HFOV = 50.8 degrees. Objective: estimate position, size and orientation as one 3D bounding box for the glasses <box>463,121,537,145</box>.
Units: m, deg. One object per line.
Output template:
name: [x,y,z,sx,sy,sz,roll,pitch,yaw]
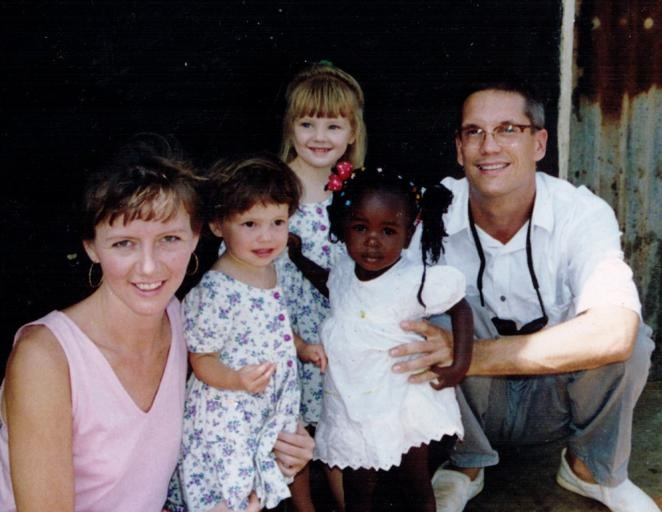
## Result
glasses: [0.900,-0.662,3.740,0.398,0.103,0.123,-3,12,13]
